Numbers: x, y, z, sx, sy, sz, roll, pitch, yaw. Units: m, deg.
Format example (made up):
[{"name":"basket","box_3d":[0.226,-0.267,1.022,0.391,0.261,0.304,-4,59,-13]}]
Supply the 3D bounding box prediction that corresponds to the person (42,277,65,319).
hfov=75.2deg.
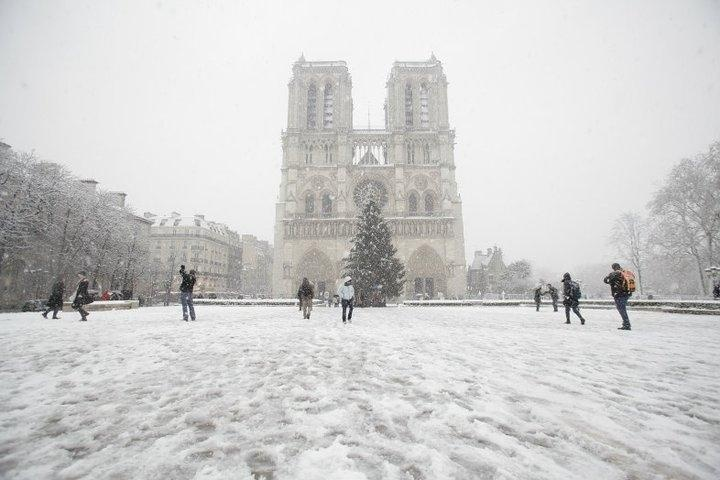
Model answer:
[{"name":"person","box_3d":[-10.852,2.086,16.581,0.536,1.419,2.294,6,-12,-32]}]

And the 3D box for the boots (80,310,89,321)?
[{"name":"boots","box_3d":[-8.884,2.437,15.081,0.195,0.326,0.617,5,-12,-30]}]

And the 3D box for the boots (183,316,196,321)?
[{"name":"boots","box_3d":[-5.747,2.630,15.758,0.383,0.180,0.995,3,-11,-19]}]

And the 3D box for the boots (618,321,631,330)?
[{"name":"boots","box_3d":[7.649,2.493,13.544,0.320,0.240,0.470,-7,-12,30]}]

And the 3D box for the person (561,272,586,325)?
[{"name":"person","box_3d":[7.144,1.983,15.780,0.685,1.643,0.642,1,-8,12]}]
